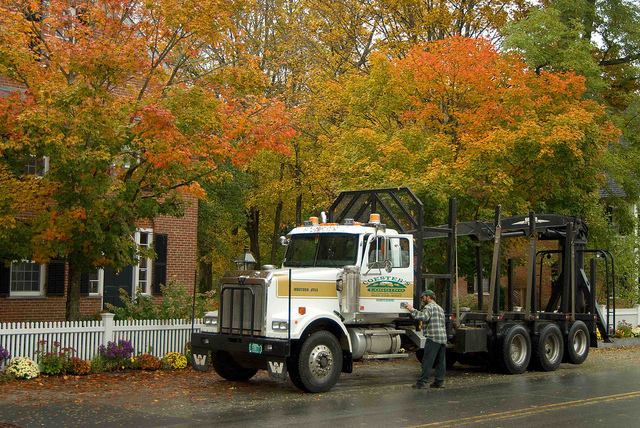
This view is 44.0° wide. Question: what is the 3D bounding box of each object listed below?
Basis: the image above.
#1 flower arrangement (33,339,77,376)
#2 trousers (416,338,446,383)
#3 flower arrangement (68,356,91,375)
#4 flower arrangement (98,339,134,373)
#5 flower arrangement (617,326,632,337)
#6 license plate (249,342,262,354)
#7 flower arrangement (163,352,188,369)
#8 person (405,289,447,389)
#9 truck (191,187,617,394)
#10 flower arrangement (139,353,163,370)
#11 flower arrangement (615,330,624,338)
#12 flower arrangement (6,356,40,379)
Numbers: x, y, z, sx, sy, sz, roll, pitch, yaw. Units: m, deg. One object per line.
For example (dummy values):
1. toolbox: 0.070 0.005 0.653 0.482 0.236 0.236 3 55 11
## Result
1. flower arrangement: -7.592 4.087 22.825 0.900 1.075 1.023 -3 -8 38
2. trousers: 3.131 4.064 22.075 0.852 1.207 0.508 4 -9 -34
3. flower arrangement: -6.930 4.385 22.974 0.486 0.298 0.487 11 -3 -44
4. flower arrangement: -6.142 4.271 23.839 0.918 0.933 0.813 5 -12 -44
5. flower arrangement: 12.705 4.934 33.195 0.420 0.302 0.416 2 -4 -17
6. license plate: -1.696 3.555 21.107 0.402 0.298 0.024 -6 -8 30
7. flower arrangement: -4.390 4.486 24.399 0.503 0.305 0.486 12 2 -14
8. person: 3.043 3.499 22.306 0.929 2.718 0.792 -1 -7 4
9. truck: 4.355 2.245 24.664 12.899 4.537 4.391 1 -4 -15
10. flower arrangement: -5.092 4.472 23.968 0.466 0.307 0.485 8 -6 -33
11. flower arrangement: 12.351 4.967 32.879 0.265 0.309 0.532 -5 -9 29
12. flower arrangement: -8.208 4.297 22.078 0.578 0.435 0.689 8 -7 -16
